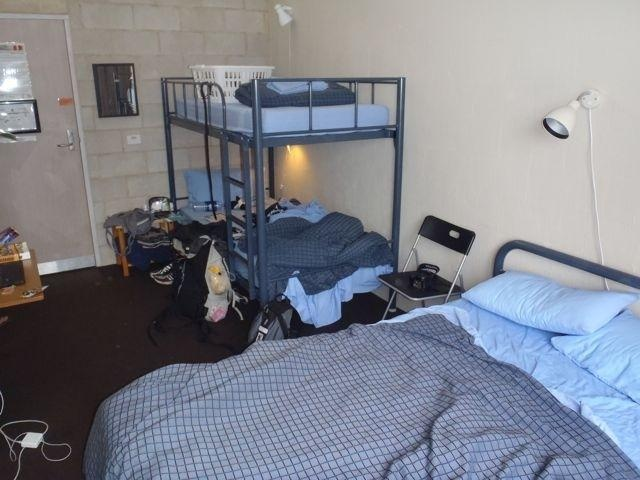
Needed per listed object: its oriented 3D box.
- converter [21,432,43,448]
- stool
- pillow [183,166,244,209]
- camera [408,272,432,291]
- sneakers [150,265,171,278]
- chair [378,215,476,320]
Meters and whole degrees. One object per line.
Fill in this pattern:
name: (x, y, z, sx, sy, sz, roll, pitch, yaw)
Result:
converter: (-1.838, 1.274, 3.190, 0.097, 0.025, 0.103, 4, 28, -10)
stool: (-1.977, 0.061, 5.432, 0.334, 0.493, 0.470, -20, 39, -37)
pillow: (-1.236, -0.571, 5.746, 0.660, 0.486, 0.366, 2, 10, -16)
camera: (0.794, 0.323, 3.995, 0.156, 0.107, 0.120, -4, 10, -42)
sneakers: (-1.621, 0.346, 5.164, 0.237, 0.108, 0.134, -3, 23, -35)
chair: (0.841, 0.370, 4.119, 0.661, 1.041, 0.644, -2, 18, -19)
